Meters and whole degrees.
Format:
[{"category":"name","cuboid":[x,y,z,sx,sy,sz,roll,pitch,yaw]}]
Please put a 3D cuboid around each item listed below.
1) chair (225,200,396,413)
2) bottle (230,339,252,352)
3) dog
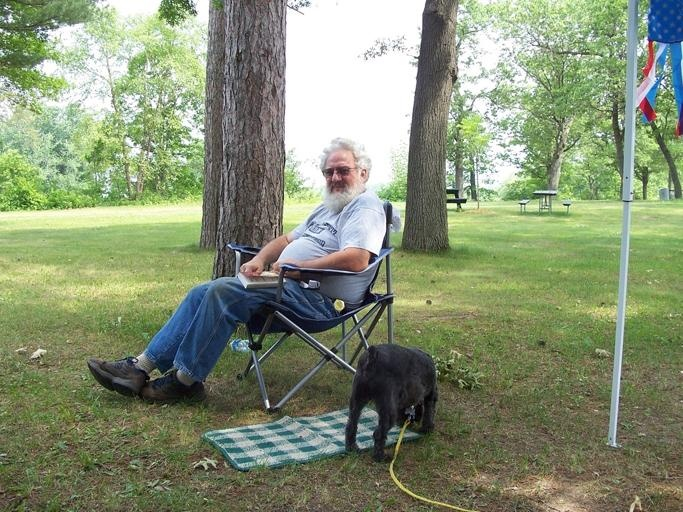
[{"category":"chair","cuboid":[-0.214,0.470,5.808,1.556,2.084,1.647,6,-7,-28]},{"category":"bottle","cuboid":[-0.983,0.864,5.987,0.153,0.096,0.208,2,-1,-15]},{"category":"dog","cuboid":[0.450,1.079,4.795,0.394,0.778,1.359,5,-4,31]}]
